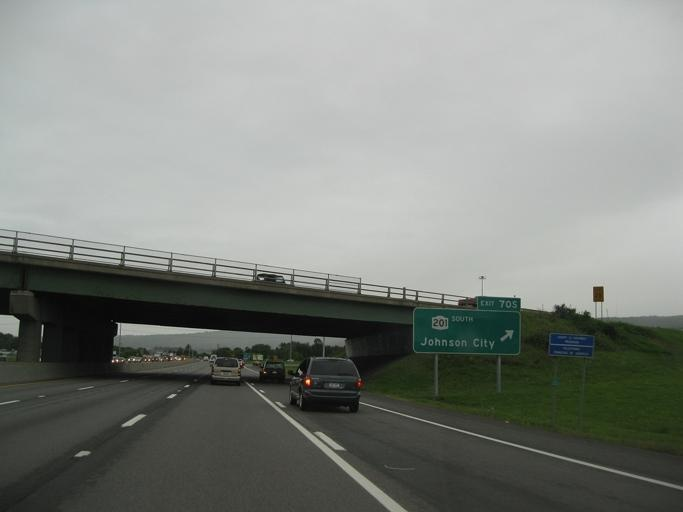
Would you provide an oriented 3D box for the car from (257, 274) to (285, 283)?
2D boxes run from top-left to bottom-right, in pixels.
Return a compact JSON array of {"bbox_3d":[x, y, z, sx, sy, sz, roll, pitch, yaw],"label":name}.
[{"bbox_3d":[-4.759,1.307,43.329,1.725,0.702,1.739,-1,-9,2],"label":"car"}]

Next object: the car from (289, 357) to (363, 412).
[{"bbox_3d":[-0.765,4.579,23.796,1.461,1.349,2.835,3,-7,-11],"label":"car"}]

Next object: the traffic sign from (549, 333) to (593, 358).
[{"bbox_3d":[7.647,2.934,21.553,1.360,0.831,0.934,-2,-9,13],"label":"traffic sign"}]
